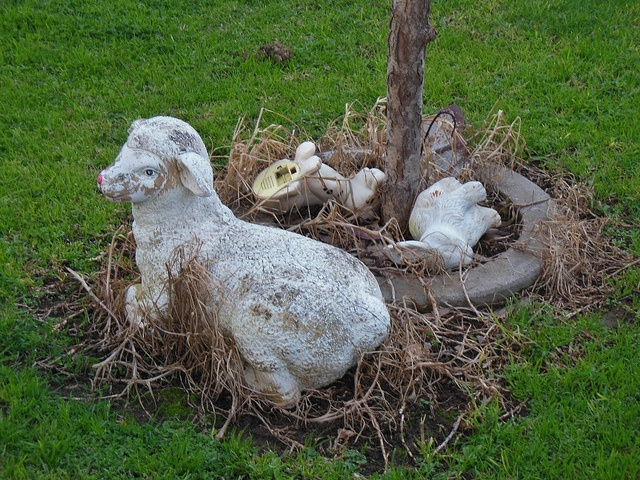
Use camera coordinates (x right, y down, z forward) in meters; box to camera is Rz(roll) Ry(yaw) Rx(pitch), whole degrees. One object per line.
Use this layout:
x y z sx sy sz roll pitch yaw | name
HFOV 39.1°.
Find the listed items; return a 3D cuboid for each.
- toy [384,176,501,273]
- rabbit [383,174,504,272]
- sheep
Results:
0.949 -0.104 6.626 0.775 0.586 0.552 0 24 5 | toy
0.914 -0.112 6.615 0.545 0.331 0.813 33 73 17 | rabbit
-0.504 0.084 6.374 2.066 1.605 1.182 21 28 18 | sheep
